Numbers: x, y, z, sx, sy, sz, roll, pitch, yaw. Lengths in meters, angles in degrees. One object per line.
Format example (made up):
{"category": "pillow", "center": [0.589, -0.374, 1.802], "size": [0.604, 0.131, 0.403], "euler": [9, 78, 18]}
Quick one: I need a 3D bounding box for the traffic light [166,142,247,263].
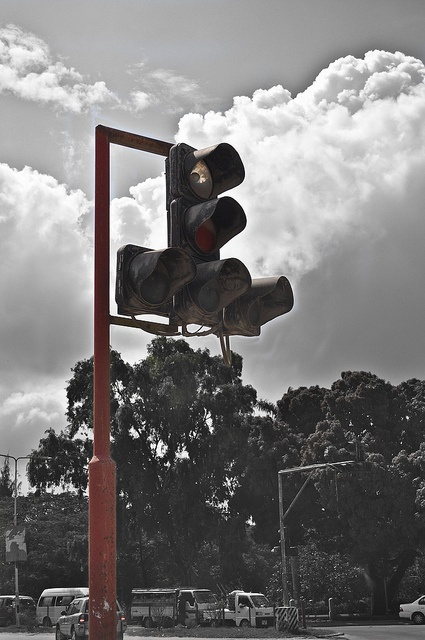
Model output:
{"category": "traffic light", "center": [-0.125, -1.766, 17.446], "size": [0.983, 2.146, 0.812], "euler": [-26, -37, 37]}

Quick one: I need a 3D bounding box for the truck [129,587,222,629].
{"category": "truck", "center": [-1.763, 13.422, 52.672], "size": [3.927, 1.948, 7.983], "euler": [-1, -9, -4]}

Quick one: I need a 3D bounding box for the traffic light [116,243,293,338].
{"category": "traffic light", "center": [-0.220, -0.367, 17.368], "size": [2.490, 0.961, 1.253], "euler": [14, -26, -34]}
